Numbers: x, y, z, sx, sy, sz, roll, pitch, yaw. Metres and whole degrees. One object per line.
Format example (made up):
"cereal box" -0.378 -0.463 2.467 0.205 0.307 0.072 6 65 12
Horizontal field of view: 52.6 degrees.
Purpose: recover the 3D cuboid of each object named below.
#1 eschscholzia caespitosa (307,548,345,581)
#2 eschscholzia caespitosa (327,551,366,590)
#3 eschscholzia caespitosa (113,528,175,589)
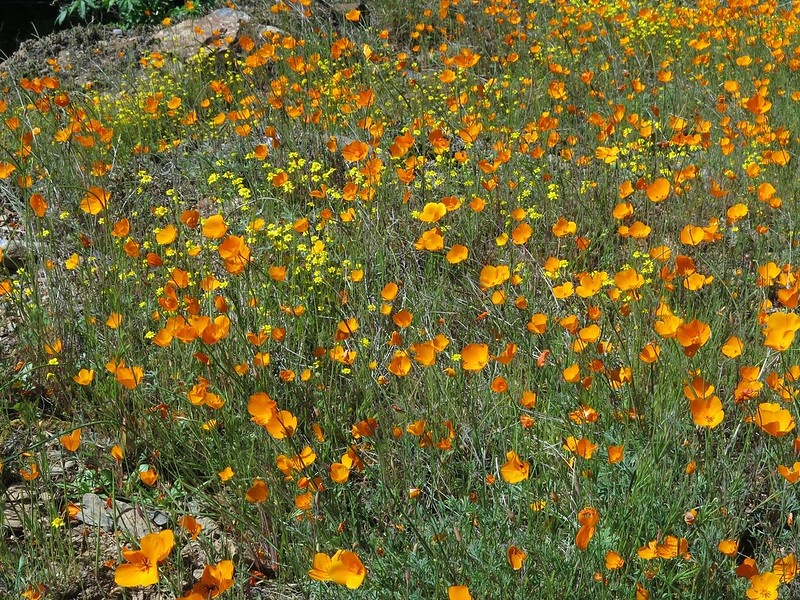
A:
"eschscholzia caespitosa" -0.235 0.846 2.617 0.108 0.059 0.133 -17 37 29
"eschscholzia caespitosa" -0.162 0.848 2.567 0.114 0.109 0.096 3 20 19
"eschscholzia caespitosa" -0.803 0.844 2.656 0.190 0.163 0.084 -41 47 2
